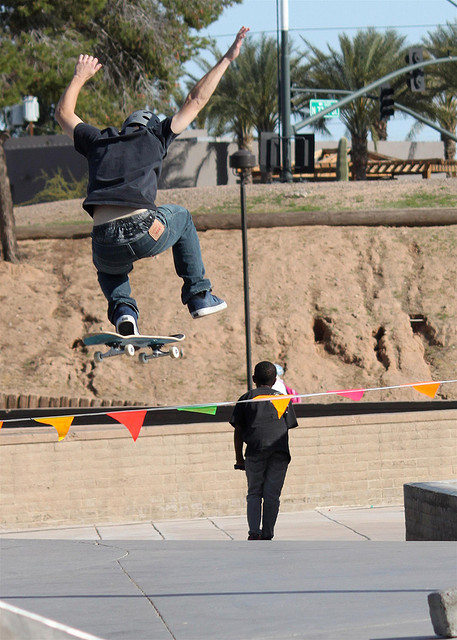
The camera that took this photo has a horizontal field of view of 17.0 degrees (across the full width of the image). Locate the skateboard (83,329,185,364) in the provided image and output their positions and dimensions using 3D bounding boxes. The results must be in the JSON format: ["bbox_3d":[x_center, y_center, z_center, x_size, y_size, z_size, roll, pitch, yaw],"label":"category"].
[{"bbox_3d":[-1.239,0.378,19.287,0.462,0.350,1.322,-11,-10,38],"label":"skateboard"}]

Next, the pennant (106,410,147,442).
[{"bbox_3d":[-1.047,1.106,15.971,0.350,0.419,0.436,-1,13,-3],"label":"pennant"}]

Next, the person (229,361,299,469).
[{"bbox_3d":[0.370,1.031,15.397,0.642,1.067,0.466,11,17,41],"label":"person"}]

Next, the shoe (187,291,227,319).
[{"bbox_3d":[-0.172,-0.151,15.435,0.170,0.252,0.526,-2,11,37],"label":"shoe"}]

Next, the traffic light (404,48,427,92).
[{"bbox_3d":[3.976,-5.234,32.293,0.388,0.988,1.559,1,14,7],"label":"traffic light"}]

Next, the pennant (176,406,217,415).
[{"bbox_3d":[-0.358,1.028,17.295,0.282,0.099,0.023,-1,23,-32],"label":"pennant"}]

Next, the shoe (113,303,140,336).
[{"bbox_3d":[-1.011,0.012,14.896,0.139,0.454,0.176,-8,3,-1],"label":"shoe"}]

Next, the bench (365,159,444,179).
[{"bbox_3d":[5.147,-4.387,44.849,2.083,0.541,1.756,4,15,18],"label":"bench"}]

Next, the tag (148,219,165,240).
[{"bbox_3d":[-0.676,-0.834,14.265,0.010,0.138,0.243,-15,42,50],"label":"tag"}]

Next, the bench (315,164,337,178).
[{"bbox_3d":[2.826,-4.284,44.085,0.602,0.346,0.760,-1,14,-2],"label":"bench"}]
